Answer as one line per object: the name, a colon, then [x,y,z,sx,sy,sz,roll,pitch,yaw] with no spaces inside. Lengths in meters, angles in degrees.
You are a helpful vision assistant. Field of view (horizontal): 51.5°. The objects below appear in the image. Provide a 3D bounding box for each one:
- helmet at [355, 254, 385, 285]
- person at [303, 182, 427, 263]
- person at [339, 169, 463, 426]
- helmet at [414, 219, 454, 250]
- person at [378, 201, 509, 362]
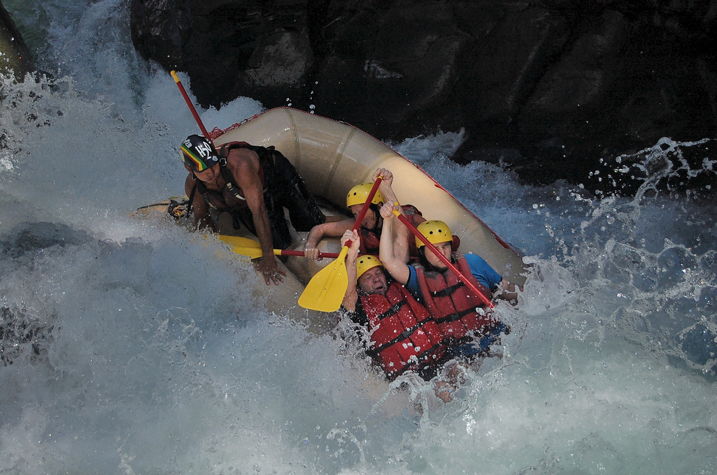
helmet: [0.073,0.264,6.560,0.233,0.169,0.186,-33,93,-47]
person: [0.217,-0.271,7.085,0.829,1.083,0.367,20,89,4]
person: [0.253,0.550,6.780,0.691,0.694,2.151,-28,84,-9]
helmet: [0.680,-0.047,6.646,0.217,0.284,0.170,-25,91,-25]
person: [0.679,0.496,6.764,1.021,0.552,1.388,-2,70,-29]
